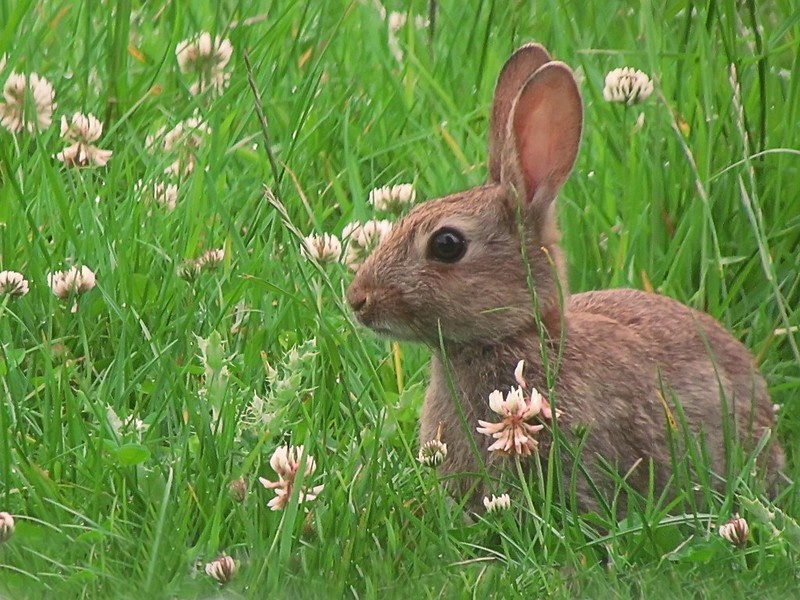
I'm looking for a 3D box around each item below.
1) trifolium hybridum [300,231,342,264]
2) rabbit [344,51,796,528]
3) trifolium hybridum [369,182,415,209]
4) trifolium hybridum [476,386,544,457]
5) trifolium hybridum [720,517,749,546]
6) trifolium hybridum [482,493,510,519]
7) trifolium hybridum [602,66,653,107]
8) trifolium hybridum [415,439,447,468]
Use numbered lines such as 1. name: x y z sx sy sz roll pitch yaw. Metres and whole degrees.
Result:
1. trifolium hybridum: -0.299 -0.233 3.729 0.135 0.170 0.141 -2 18 -9
2. rabbit: 0.691 0.064 3.637 1.604 2.077 0.928 -3 4 -13
3. trifolium hybridum: -0.025 -0.452 4.245 0.141 0.103 0.130 -7 -7 9
4. trifolium hybridum: 0.331 0.347 2.839 0.170 0.210 0.163 -13 -10 39
5. trifolium hybridum: 0.920 0.627 2.680 0.072 0.089 0.072 -1 15 6
6. trifolium hybridum: 0.287 0.587 2.823 0.078 0.093 0.095 2 -17 -9
7. trifolium hybridum: 0.932 -0.872 4.018 0.164 0.131 0.185 2 17 34
8. trifolium hybridum: 0.098 0.438 2.875 0.079 0.100 0.081 -9 3 -45
